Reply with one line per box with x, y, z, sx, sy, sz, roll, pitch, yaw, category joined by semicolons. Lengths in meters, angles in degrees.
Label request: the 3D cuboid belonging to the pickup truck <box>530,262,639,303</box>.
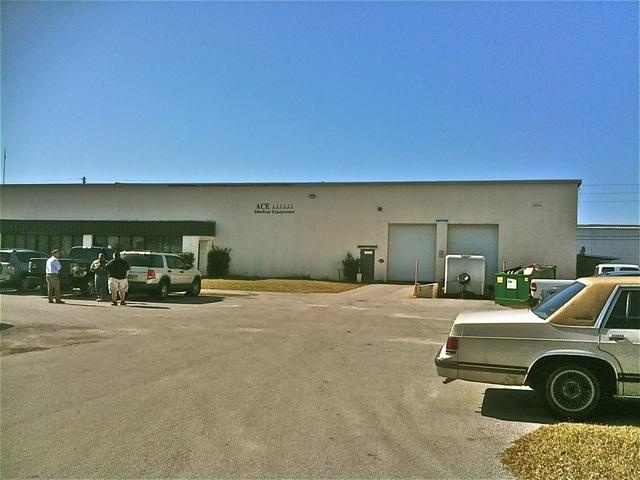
7.421;1.137;15.358;2.612;1.231;1.542;-4;-2;11;pickup truck

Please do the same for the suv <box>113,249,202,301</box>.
-6.581;1.435;22.277;1.498;1.383;3.264;0;0;22;suv

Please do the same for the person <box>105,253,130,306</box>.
-7.499;1.418;19.616;0.770;1.924;1.413;0;1;-20;person
